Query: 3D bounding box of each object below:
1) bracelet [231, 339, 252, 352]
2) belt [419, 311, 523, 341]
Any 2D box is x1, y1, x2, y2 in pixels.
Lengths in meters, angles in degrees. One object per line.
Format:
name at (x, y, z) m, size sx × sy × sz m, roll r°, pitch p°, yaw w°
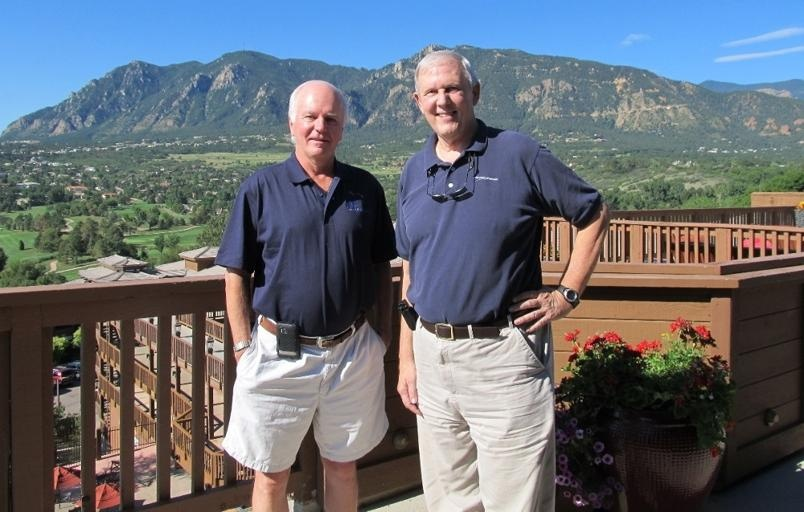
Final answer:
bracelet at (-0.980, 0.550, 4.166) m, size 0.090 × 0.059 × 0.094 m, roll -23°, pitch -7°, yaw 32°
belt at (0.418, 0.422, 3.952) m, size 0.443 × 0.120 × 0.035 m, roll -2°, pitch 8°, yaw 11°
